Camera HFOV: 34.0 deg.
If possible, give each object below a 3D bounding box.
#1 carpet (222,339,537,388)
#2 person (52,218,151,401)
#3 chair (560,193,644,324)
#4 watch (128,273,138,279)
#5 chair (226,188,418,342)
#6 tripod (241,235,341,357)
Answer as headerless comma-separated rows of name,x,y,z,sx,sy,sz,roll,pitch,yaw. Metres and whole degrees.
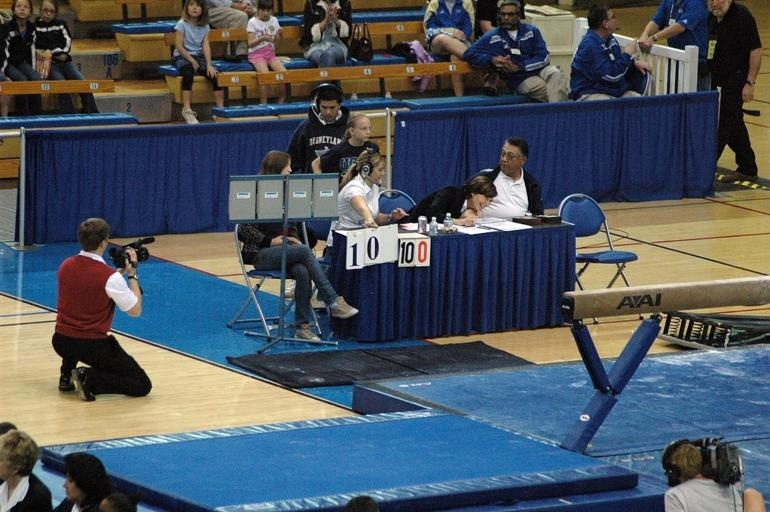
carpet,-0.130,1.007,11.801,2.615,0.183,0.917,-3,11,-12
person,-2.574,0.448,11.224,1.105,1.525,0.915,13,13,43
chair,2.353,-0.050,13.459,1.083,1.387,0.963,-2,6,-21
watch,-2.262,0.174,11.242,0.067,0.035,0.065,-1,-1,26
chair,-0.991,-0.007,12.245,1.096,1.636,0.780,-3,13,-7
tripod,-0.829,0.183,12.315,1.077,1.243,0.687,4,10,43
